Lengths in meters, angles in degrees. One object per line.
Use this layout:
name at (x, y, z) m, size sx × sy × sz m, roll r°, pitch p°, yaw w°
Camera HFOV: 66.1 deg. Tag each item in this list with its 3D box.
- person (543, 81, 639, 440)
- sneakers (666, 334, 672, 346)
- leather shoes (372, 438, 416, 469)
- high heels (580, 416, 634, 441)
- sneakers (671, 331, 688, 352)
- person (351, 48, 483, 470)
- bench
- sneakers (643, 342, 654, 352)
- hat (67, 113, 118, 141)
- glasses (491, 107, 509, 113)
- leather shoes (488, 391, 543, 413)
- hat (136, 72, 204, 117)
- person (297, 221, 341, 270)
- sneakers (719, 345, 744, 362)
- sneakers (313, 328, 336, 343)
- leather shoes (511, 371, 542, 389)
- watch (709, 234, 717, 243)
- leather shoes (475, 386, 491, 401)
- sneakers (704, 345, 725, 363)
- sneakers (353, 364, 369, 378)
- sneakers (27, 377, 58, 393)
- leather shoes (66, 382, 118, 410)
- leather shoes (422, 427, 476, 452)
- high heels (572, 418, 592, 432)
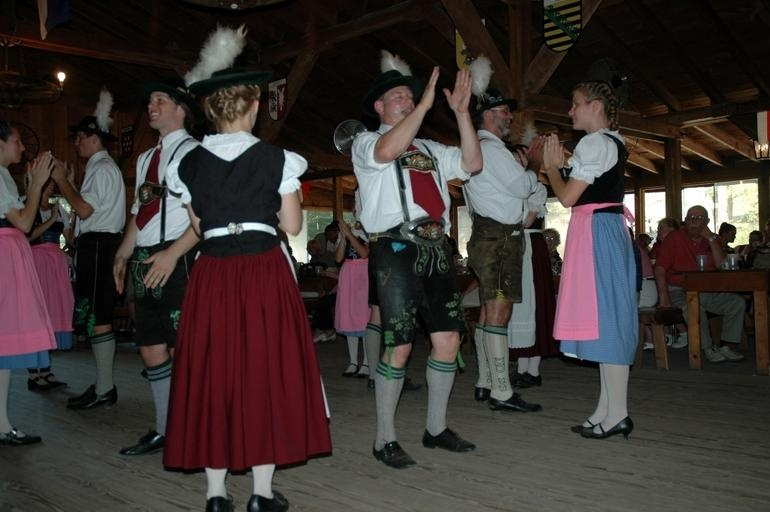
person at (1.462, 0.000, 4.201) m, size 0.622 × 2.485 × 0.484 m, roll 1°, pitch 7°, yaw 22°
sneakers at (3.664, 1.072, 7.659) m, size 0.043 × 0.116 × 0.129 m, roll 6°, pitch 1°, yaw -16°
leather shoes at (0.058, 1.282, 3.863) m, size 0.115 × 0.124 × 0.301 m, roll -1°, pitch 3°, yaw -44°
high heels at (1.546, 1.193, 4.103) m, size 0.311 × 0.126 × 0.163 m, roll 2°, pitch -3°, yaw 13°
sneakers at (3.702, 1.054, 7.465) m, size 0.124 × 0.143 × 0.348 m, roll -2°, pitch 1°, yaw 42°
person at (0.227, 0.072, 3.867) m, size 0.800 × 2.488 × 0.496 m, roll -3°, pitch 7°, yaw -5°
bench at (2.938, 0.836, 6.255) m, size 0.518 × 0.530 × 0.500 m, roll -1°, pitch -6°, yaw -27°
sneakers at (3.290, 1.127, 7.408) m, size 0.102 × 0.108 × 0.278 m, roll -4°, pitch -10°, yaw 18°
hat at (-2.533, -1.149, 5.220) m, size 0.300 × 0.130 × 0.360 m, roll 2°, pitch -12°, yaw 43°
glasses at (0.939, -1.191, 4.798) m, size 0.075 × 0.022 × 0.076 m, roll -2°, pitch 4°, yaw -30°
leather shoes at (1.029, 1.174, 4.760) m, size 0.431 × 0.165 × 0.152 m, roll -1°, pitch -3°, yaw -2°
hat at (-1.440, -1.073, 4.056) m, size 0.355 × 0.152 × 0.400 m, roll 14°, pitch -12°, yaw 16°
person at (-1.328, -0.211, 11.580) m, size 0.456 × 0.463 × 1.413 m, roll -6°, pitch 4°, yaw 14°
sneakers at (3.838, 1.071, 6.580) m, size 0.134 × 0.100 × 0.255 m, roll -2°, pitch 4°, yaw -32°
sneakers at (-0.932, 1.167, 8.729) m, size 0.418 × 0.160 × 0.136 m, roll 1°, pitch -1°, yaw -42°
leather shoes at (1.292, 1.149, 5.454) m, size 0.306 × 0.123 × 0.116 m, roll 6°, pitch -10°, yaw -10°
watch at (3.664, -0.209, 6.621) m, size 0.082 × 0.078 × 0.026 m, roll 2°, pitch 6°, yaw -6°
leather shoes at (0.822, 1.166, 5.013) m, size 0.078 × 0.094 × 0.142 m, roll 2°, pitch -9°, yaw 8°
sneakers at (3.610, 1.078, 6.491) m, size 0.098 × 0.096 × 0.244 m, roll -12°, pitch 1°, yaw -10°
sneakers at (-0.239, 1.174, 6.078) m, size 0.153 × 0.158 × 0.412 m, roll 0°, pitch -11°, yaw 1°
sneakers at (-3.289, 1.243, 5.730) m, size 0.253 × 0.087 × 0.140 m, roll -2°, pitch -1°, yaw 17°
leather shoes at (-2.507, 1.199, 5.097) m, size 0.357 × 0.147 × 0.192 m, roll 1°, pitch 4°, yaw -11°
leather shoes at (0.435, 1.248, 4.075) m, size 0.351 × 0.134 × 0.139 m, roll -2°, pitch -4°, yaw 20°
high heels at (1.406, 1.199, 4.209) m, size 0.180 × 0.046 × 0.066 m, roll -7°, pitch 0°, yaw -17°
